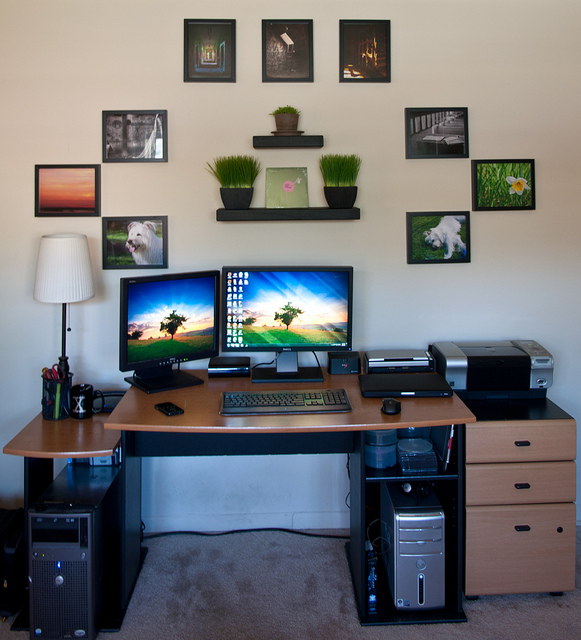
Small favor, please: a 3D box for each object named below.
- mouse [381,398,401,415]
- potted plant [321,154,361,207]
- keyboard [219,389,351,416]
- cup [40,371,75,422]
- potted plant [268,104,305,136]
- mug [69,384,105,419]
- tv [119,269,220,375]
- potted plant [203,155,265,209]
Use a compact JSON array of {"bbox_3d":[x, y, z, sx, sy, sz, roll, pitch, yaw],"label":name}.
[{"bbox_3d":[0.377,0.327,2.329,0.058,0.041,0.058,-1,0,4],"label":"mouse"},{"bbox_3d":[0.230,-0.634,2.827,0.173,0.233,0.166,1,13,6],"label":"potted plant"},{"bbox_3d":[-0.021,0.326,2.442,0.500,0.036,0.188,-1,13,-3],"label":"keyboard"},{"bbox_3d":[-1.007,0.326,2.641,0.170,0.186,0.100,5,14,20],"label":"cup"},{"bbox_3d":[-0.014,-0.877,2.763,0.139,0.118,0.134,-1,12,-2],"label":"potted plant"},{"bbox_3d":[-0.859,0.345,2.678,0.159,0.136,0.099,2,2,-10],"label":"mug"},{"bbox_3d":[-0.513,0.010,2.668,0.452,0.425,0.158,-3,9,-31],"label":"tv"},{"bbox_3d":[-0.248,-0.623,2.804,0.279,0.237,0.164,-2,13,-8],"label":"potted plant"}]
